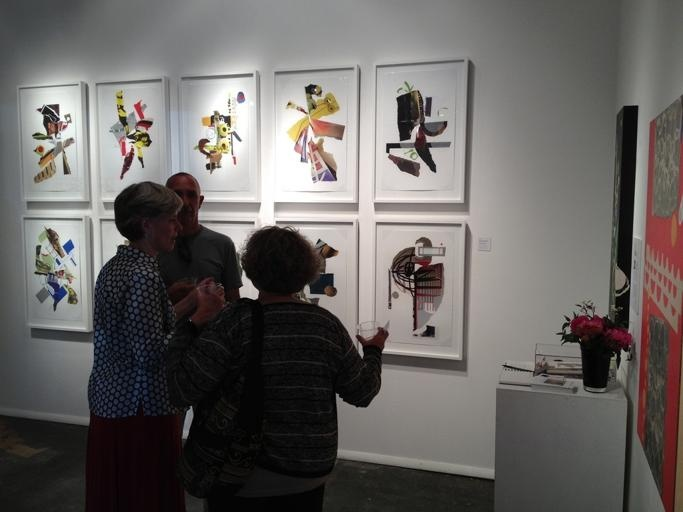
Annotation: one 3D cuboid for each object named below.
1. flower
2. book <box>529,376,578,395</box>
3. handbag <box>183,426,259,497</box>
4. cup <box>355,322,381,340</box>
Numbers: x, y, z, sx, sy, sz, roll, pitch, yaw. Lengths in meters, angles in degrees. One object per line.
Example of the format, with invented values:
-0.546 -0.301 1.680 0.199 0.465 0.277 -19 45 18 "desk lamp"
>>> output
1.457 0.465 3.066 0.417 0.297 0.437 10 -2 3 "flower"
1.239 0.738 3.092 0.246 0.034 0.212 5 7 24 "book"
-0.502 0.835 2.257 0.223 0.238 0.301 7 -4 6 "handbag"
0.111 0.337 2.454 0.091 0.072 0.079 -1 6 8 "cup"
